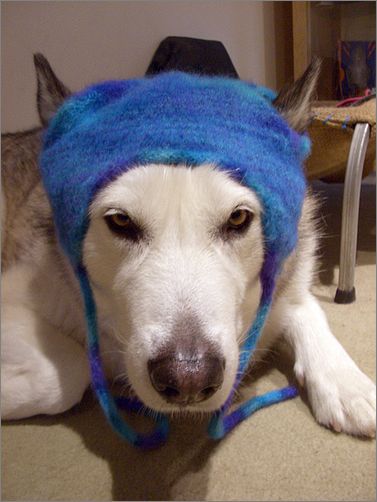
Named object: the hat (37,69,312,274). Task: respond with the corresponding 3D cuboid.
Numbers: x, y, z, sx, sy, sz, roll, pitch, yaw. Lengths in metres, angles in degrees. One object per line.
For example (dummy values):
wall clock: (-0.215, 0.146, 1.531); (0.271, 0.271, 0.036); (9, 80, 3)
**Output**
hat: (-0.030, -0.164, 0.888); (0.330, 0.401, 0.208); (3, 57, -3)
